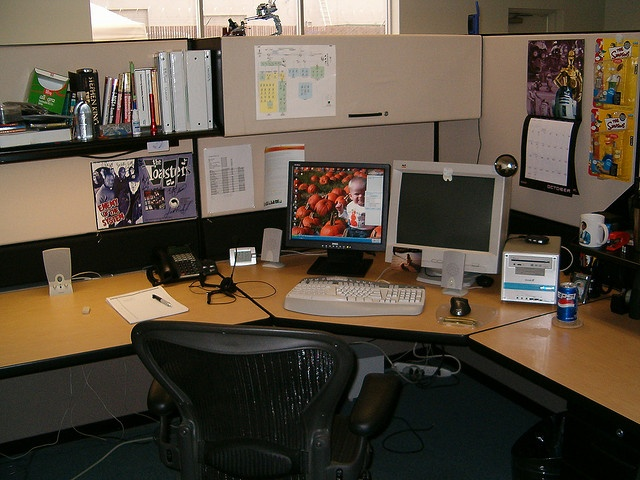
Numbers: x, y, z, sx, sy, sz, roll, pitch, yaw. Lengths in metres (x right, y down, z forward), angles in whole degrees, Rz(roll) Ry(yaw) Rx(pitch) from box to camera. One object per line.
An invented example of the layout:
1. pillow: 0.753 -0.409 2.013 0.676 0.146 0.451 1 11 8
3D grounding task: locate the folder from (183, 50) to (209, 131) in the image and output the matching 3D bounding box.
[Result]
1. folder: -0.564 -0.685 2.385 0.104 0.283 0.280 -2 20 -7

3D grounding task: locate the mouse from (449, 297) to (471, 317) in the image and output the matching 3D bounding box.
1. mouse: 0.573 0.268 2.173 0.055 0.031 0.085 2 27 16

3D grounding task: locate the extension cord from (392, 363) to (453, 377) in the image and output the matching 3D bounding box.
1. extension cord: 0.632 0.795 3.252 0.373 0.082 0.093 -1 15 0

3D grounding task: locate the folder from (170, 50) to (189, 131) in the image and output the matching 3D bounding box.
1. folder: -0.633 -0.679 2.366 0.099 0.282 0.292 -3 15 -8

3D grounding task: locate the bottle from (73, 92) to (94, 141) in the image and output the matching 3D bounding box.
1. bottle: -1.012 -0.521 2.253 0.085 0.202 0.067 -4 14 -12

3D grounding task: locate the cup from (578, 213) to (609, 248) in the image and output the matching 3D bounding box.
1. cup: 1.078 -0.032 2.094 0.079 0.123 0.135 -1 15 4

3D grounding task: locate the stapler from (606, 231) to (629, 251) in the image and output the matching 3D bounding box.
1. stapler: 1.164 0.005 2.069 0.133 0.074 0.043 -9 10 -25

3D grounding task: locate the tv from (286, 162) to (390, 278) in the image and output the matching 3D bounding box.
1. tv: 0.095 -0.111 2.607 0.496 0.540 0.204 2 7 7
